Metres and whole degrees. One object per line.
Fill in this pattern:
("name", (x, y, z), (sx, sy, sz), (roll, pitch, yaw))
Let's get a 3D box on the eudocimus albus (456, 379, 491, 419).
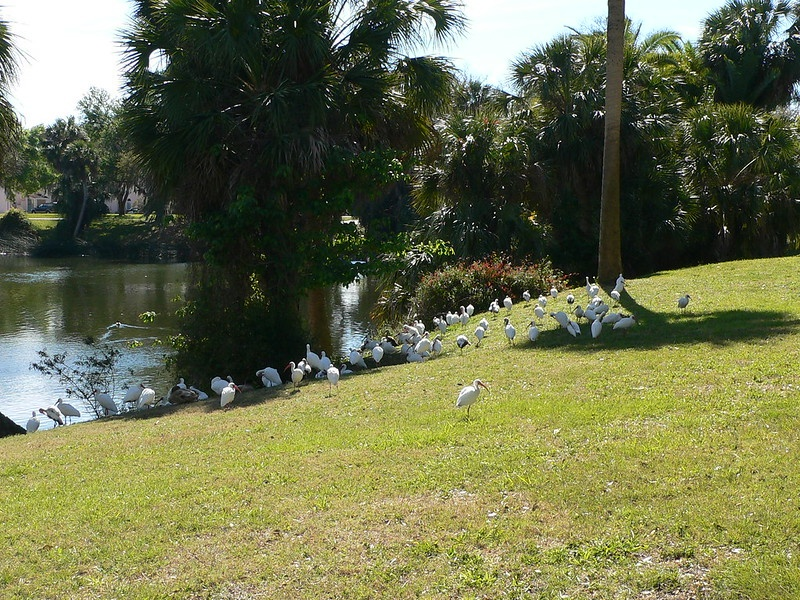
("eudocimus albus", (1.534, 2.084, 23.621), (0.682, 0.749, 1.356), (-5, -1, 5))
